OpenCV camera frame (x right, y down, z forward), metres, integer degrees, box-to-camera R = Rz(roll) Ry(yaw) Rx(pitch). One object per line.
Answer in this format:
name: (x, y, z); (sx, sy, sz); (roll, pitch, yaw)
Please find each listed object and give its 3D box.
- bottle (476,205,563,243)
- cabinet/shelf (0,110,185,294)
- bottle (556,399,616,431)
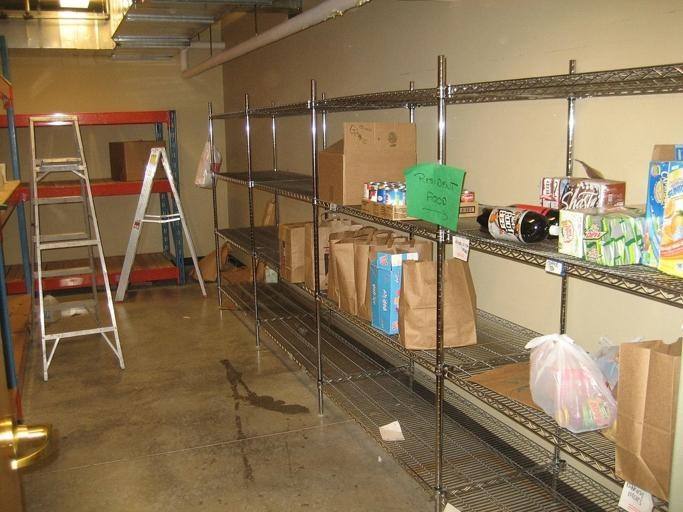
bottle: (0.687, -0.135, 2.068); (0.299, 0.121, 0.306); (-1, 14, 0)
cabinet/shelf: (-2.921, -0.646, 6.153); (2.264, 2.124, 0.721); (-5, 11, -25)
bottle: (0.895, 0.566, 1.871); (0.115, 0.056, 0.153); (-4, 4, -3)
